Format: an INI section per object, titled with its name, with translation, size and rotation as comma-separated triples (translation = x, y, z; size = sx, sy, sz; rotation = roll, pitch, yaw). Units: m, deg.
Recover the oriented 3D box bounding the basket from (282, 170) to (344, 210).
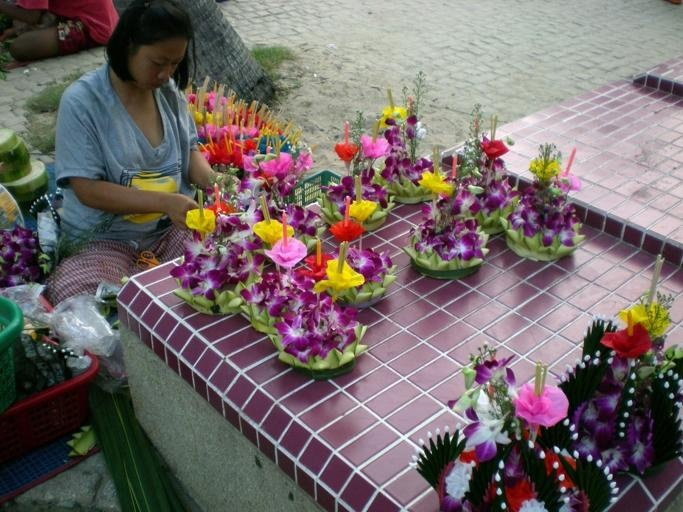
[basket]
translation = -0.168, -0.403, 3.409
size = 0.208, 0.117, 0.316
rotation = 31, 54, 31
